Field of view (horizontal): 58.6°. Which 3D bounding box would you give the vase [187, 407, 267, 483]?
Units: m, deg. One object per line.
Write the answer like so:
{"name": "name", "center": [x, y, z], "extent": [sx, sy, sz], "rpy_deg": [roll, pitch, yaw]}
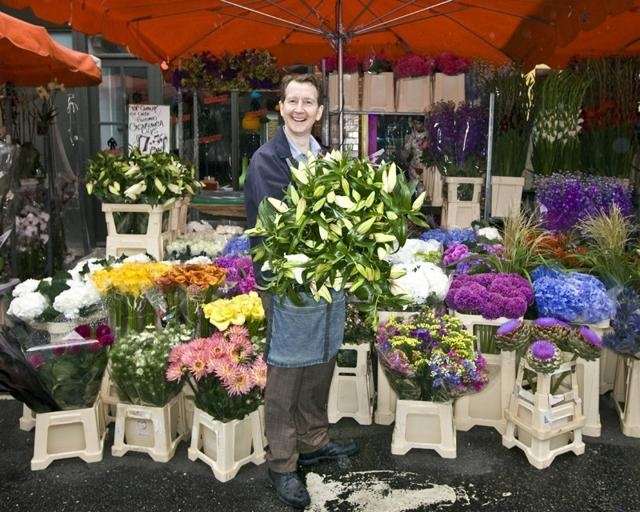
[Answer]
{"name": "vase", "center": [-0.502, 0.962, 3.123], "extent": [0.332, 0.304, 0.334], "rpy_deg": [12, 13, 40]}

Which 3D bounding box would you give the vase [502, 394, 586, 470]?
{"name": "vase", "center": [1.258, 0.915, 3.206], "extent": [0.388, 0.365, 0.401], "rpy_deg": [-12, 13, -33]}

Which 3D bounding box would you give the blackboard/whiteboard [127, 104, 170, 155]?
{"name": "blackboard/whiteboard", "center": [-1.914, -1.402, 6.389], "extent": [0.458, 0.622, 0.032], "rpy_deg": [-4, 41, -24]}

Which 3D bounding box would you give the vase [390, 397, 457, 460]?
{"name": "vase", "center": [0.574, 0.932, 3.140], "extent": [0.286, 0.265, 0.311], "rpy_deg": [1, 0, 6]}

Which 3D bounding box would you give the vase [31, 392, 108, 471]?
{"name": "vase", "center": [-1.361, 0.932, 3.092], "extent": [0.295, 0.260, 0.318], "rpy_deg": [-1, 4, -10]}

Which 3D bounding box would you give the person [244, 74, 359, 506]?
{"name": "person", "center": [-0.093, 0.154, 2.786], "extent": [0.485, 2.050, 0.531], "rpy_deg": [-3, 9, -16]}

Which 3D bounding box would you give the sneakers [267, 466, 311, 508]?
{"name": "sneakers", "center": [-0.143, 1.122, 2.772], "extent": [0.098, 0.096, 0.219], "rpy_deg": [-11, 21, -37]}

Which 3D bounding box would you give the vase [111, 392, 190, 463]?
{"name": "vase", "center": [-0.966, 0.938, 3.234], "extent": [0.411, 0.293, 0.432], "rpy_deg": [9, 10, 28]}
